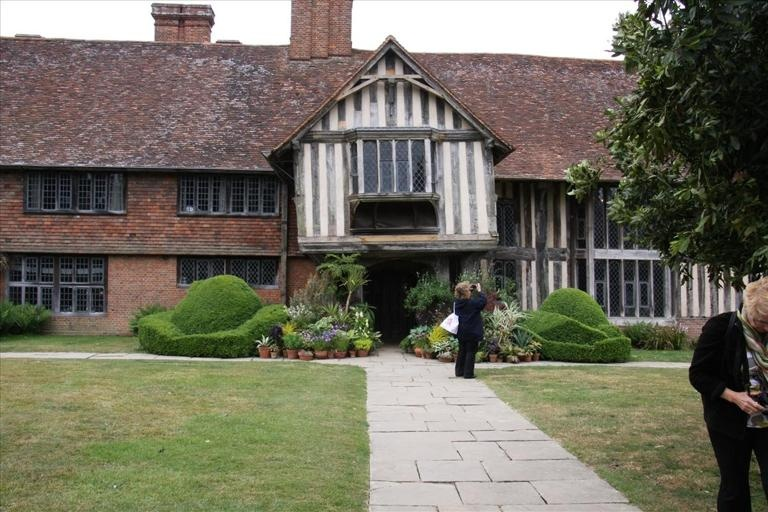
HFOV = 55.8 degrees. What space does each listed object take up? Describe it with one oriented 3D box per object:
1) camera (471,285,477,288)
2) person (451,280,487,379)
[{"bbox_3d":[2.327,0.779,18.750,0.122,0.078,0.113,1,0,-13],"label":"camera"},{"bbox_3d":[1.818,1.626,15.719,0.634,2.081,0.514,4,8,12],"label":"person"}]
